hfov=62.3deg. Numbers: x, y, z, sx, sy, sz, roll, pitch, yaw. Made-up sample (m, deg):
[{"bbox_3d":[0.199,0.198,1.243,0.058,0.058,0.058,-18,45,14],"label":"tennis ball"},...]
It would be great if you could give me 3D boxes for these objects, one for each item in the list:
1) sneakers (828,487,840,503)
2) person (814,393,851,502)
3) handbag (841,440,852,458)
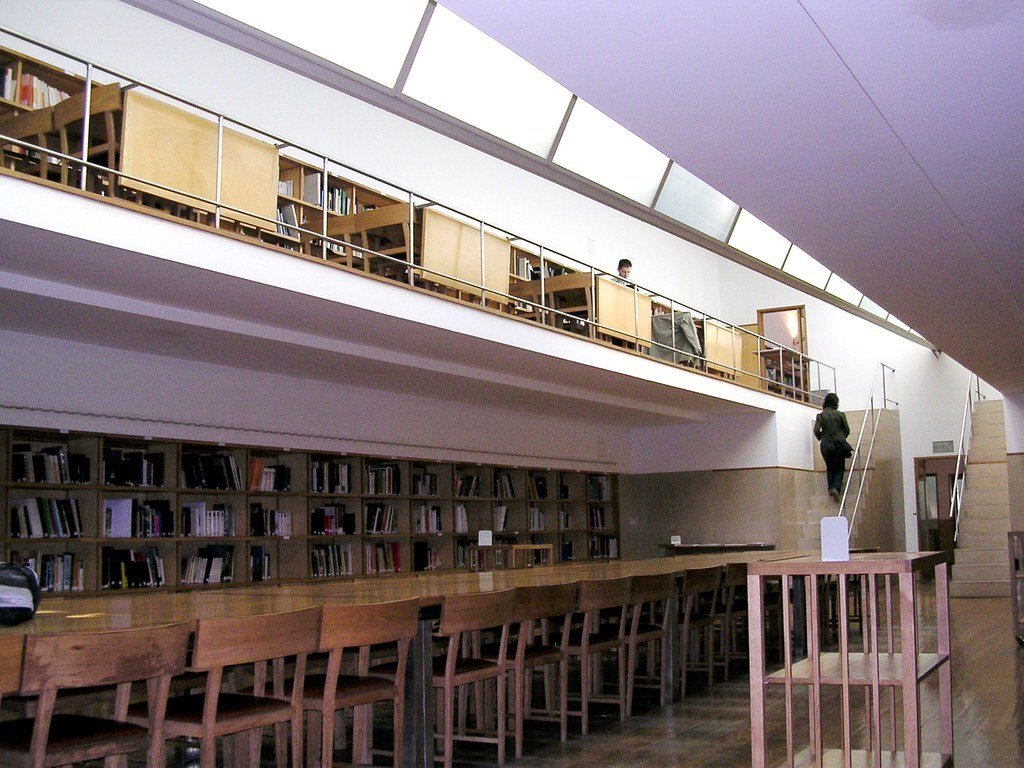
[{"bbox_3d":[4.369,1.501,11.516,0.112,0.150,0.378,-10,-41,25],"label":"sneakers"},{"bbox_3d":[4.306,0.822,11.380,0.434,1.489,1.049,-4,-8,21],"label":"person"},{"bbox_3d":[4.340,0.845,11.016,0.149,0.219,0.053,6,-4,-42],"label":"handbag"}]
